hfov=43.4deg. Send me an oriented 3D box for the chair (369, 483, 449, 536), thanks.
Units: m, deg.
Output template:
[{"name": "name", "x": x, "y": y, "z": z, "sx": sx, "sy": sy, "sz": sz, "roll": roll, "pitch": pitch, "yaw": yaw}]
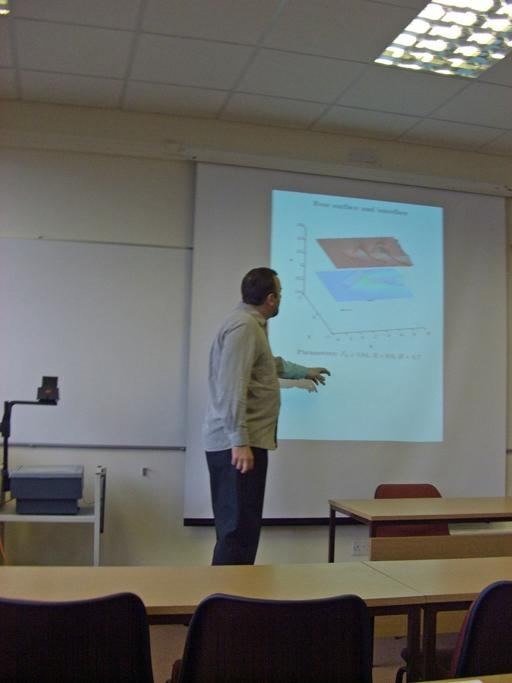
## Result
[{"name": "chair", "x": 0.748, "y": 0.812, "z": 3.147, "sx": 0.277, "sy": 0.393, "sz": 0.269, "roll": 2, "pitch": -27, "yaw": 1}]
